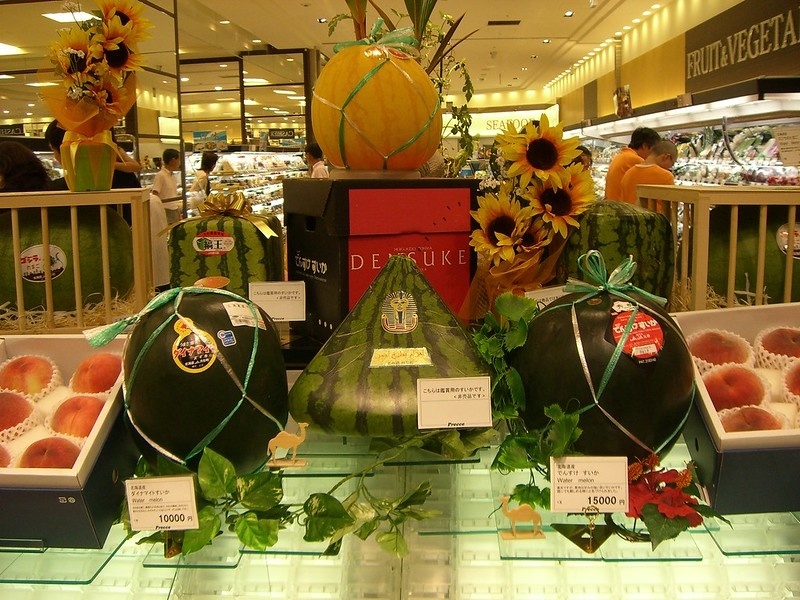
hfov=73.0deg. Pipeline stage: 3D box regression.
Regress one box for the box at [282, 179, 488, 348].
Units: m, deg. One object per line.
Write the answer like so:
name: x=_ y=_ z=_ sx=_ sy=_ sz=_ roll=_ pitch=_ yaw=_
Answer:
box: x=-0.064 y=-0.122 z=1.449 sx=0.490 sy=0.379 sz=0.513 roll=6 pitch=12 yaw=32

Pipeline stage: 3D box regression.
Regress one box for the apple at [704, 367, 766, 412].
apple: x=0.634 y=0.164 z=1.027 sx=0.081 sy=0.047 sz=0.090 roll=-2 pitch=35 yaw=22

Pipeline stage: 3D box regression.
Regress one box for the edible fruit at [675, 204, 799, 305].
edible fruit: x=1.057 y=-0.150 z=1.764 sx=0.320 sy=0.229 sz=0.344 roll=0 pitch=5 yaw=-2

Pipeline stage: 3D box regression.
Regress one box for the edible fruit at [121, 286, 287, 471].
edible fruit: x=-0.296 y=0.086 z=1.047 sx=0.272 sy=0.367 sz=0.294 roll=-11 pitch=7 yaw=-6

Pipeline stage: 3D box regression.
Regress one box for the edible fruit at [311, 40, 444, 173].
edible fruit: x=-0.044 y=-0.463 z=1.373 sx=0.280 sy=0.348 sz=0.298 roll=-5 pitch=38 yaw=-1

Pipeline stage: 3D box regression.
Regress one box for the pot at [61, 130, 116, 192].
pot: x=-0.909 y=-0.407 z=1.579 sx=0.140 sy=0.177 sz=0.107 roll=-8 pitch=11 yaw=-34

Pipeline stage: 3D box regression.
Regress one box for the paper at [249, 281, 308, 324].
paper: x=-0.294 y=-0.002 z=1.320 sx=0.147 sy=0.118 sz=0.086 roll=0 pitch=0 yaw=-5

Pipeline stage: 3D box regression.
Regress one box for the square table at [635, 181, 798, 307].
square table: x=0.991 y=-0.188 z=1.667 sx=0.402 sy=0.444 sz=0.434 roll=1 pitch=6 yaw=9

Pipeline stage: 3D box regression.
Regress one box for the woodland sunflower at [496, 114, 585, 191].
woodland sunflower: x=0.312 y=-0.350 z=1.234 sx=0.202 sy=0.075 sz=0.238 roll=-6 pitch=0 yaw=9

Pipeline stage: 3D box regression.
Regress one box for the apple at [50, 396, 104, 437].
apple: x=-0.599 y=0.209 z=1.012 sx=0.078 sy=0.047 sz=0.085 roll=2 pitch=36 yaw=-2

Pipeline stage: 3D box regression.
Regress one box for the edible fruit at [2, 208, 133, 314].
edible fruit: x=-1.018 y=-0.147 z=1.697 sx=0.352 sy=0.289 sz=0.274 roll=-11 pitch=28 yaw=-10

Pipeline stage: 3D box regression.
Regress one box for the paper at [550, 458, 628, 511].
paper: x=0.304 y=0.294 z=0.869 sx=0.136 sy=0.104 sz=0.079 roll=0 pitch=0 yaw=1

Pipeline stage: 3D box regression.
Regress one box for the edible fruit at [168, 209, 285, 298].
edible fruit: x=-0.476 y=-0.121 z=1.403 sx=0.228 sy=0.228 sz=0.125 roll=0 pitch=26 yaw=-19

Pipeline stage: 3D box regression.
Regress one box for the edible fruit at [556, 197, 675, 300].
edible fruit: x=0.536 y=-0.132 z=1.399 sx=0.233 sy=0.361 sz=0.247 roll=-6 pitch=8 yaw=-43

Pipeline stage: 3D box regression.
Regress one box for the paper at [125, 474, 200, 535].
paper: x=-0.379 y=0.327 z=0.868 sx=0.096 sy=0.081 sz=0.014 roll=0 pitch=4 yaw=6

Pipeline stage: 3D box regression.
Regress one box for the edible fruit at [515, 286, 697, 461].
edible fruit: x=0.349 y=0.096 z=1.022 sx=0.258 sy=0.295 sz=0.279 roll=-3 pitch=17 yaw=0

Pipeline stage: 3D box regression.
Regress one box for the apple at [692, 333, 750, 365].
apple: x=0.660 y=0.098 z=1.118 sx=0.081 sy=0.050 sz=0.079 roll=-15 pitch=20 yaw=-41

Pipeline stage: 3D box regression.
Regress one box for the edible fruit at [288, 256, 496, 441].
edible fruit: x=-0.036 y=0.099 z=1.002 sx=0.285 sy=0.240 sz=0.303 roll=3 pitch=-1 yaw=-5

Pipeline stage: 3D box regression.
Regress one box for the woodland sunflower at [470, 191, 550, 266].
woodland sunflower: x=0.250 y=-0.201 z=1.229 sx=0.145 sy=0.066 sz=0.154 roll=16 pitch=6 yaw=0
